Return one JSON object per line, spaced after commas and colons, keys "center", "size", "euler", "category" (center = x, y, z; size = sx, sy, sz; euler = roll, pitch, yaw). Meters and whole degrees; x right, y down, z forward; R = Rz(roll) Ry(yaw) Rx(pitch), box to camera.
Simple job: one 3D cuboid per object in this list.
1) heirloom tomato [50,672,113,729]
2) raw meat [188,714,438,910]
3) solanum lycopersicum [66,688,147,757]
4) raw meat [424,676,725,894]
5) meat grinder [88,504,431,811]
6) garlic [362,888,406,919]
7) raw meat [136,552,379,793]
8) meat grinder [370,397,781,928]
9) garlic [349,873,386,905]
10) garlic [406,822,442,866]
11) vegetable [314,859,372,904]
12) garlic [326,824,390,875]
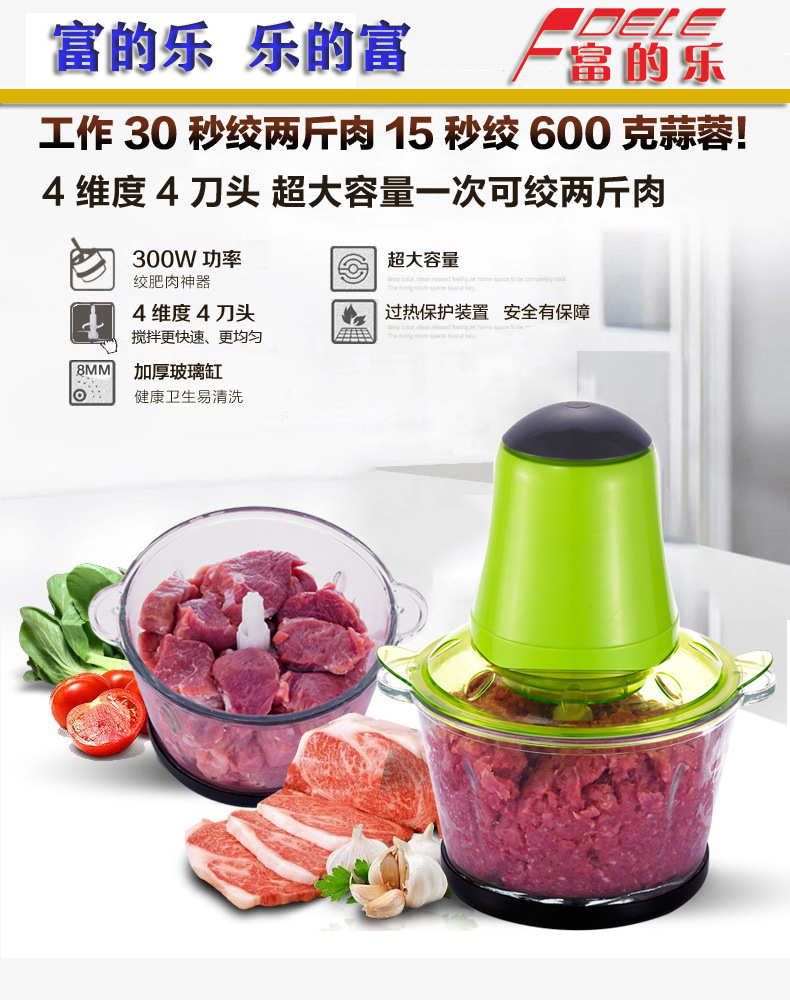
{"center": [-1.044, 0.634, 3.444], "size": [0.214, 0.167, 0.190], "euler": [0, 5, 4], "category": "heirloom tomato"}
{"center": [-0.174, 0.715, 2.479], "size": [0.673, 0.208, 0.455], "euler": [-12, 17, -16], "category": "raw meat"}
{"center": [-0.924, 0.699, 3.351], "size": [0.224, 0.120, 0.204], "euler": [-26, 37, -18], "category": "solanum lycopersicum"}
{"center": [0.326, 0.569, 2.236], "size": [0.522, 0.297, 0.554], "euler": [-4, -8, 23], "category": "raw meat"}
{"center": [-0.376, 0.360, 2.960], "size": [1.108, 0.539, 0.795], "euler": [3, 41, -19], "category": "meat grinder"}
{"center": [-0.015, 0.850, 2.261], "size": [0.092, 0.059, 0.037], "euler": [-35, 11, 16], "category": "garlic"}
{"center": [-0.297, 0.620, 3.061], "size": [0.721, 0.332, 0.690], "euler": [-9, -16, -23], "category": "raw meat"}
{"center": [0.379, 0.336, 2.127], "size": [0.766, 1.062, 0.403], "euler": [-1, 6, -4], "category": "meat grinder"}
{"center": [-0.058, 0.826, 2.228], "size": [0.066, 0.064, 0.031], "euler": [-27, -2, -7], "category": "garlic"}
{"center": [0.071, 0.764, 2.353], "size": [0.081, 0.087, 0.072], "euler": [11, -13, 9], "category": "garlic"}
{"center": [-0.108, 0.807, 2.296], "size": [0.127, 0.103, 0.046], "euler": [11, 26, 24], "category": "vegetable"}
{"center": [-0.079, 0.752, 2.315], "size": [0.137, 0.104, 0.126], "euler": [1, -6, -12], "category": "garlic"}
